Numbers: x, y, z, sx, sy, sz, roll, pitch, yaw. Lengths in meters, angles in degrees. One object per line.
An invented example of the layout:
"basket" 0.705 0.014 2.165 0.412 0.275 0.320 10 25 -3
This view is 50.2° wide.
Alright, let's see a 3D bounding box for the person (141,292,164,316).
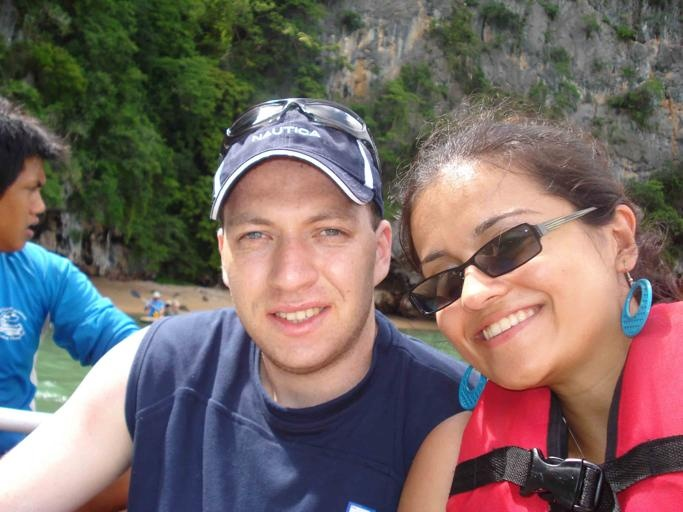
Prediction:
"person" -4.912 1.258 18.791 0.456 0.401 1.070 0 27 -1
